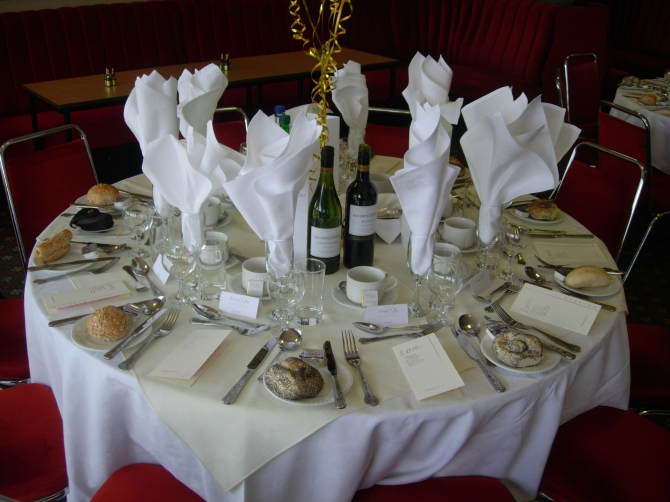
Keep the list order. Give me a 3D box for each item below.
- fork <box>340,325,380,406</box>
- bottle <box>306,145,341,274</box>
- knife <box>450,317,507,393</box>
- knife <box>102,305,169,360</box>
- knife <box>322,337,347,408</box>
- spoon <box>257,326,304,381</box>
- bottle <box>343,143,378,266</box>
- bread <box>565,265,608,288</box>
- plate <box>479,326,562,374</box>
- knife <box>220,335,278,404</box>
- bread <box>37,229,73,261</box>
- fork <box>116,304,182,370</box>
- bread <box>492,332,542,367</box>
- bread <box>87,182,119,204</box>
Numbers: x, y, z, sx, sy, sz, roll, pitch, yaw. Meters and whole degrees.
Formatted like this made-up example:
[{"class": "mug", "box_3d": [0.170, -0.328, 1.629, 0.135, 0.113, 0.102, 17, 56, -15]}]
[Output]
[{"class": "fork", "box_3d": [0.053, 0.283, 1.187, 0.036, 0.044, 0.294, -11, 36, -1]}, {"class": "bottle", "box_3d": [-0.029, -0.129, 1.433, 0.131, 0.407, 0.124, 0, 32, 0]}, {"class": "knife", "box_3d": [0.370, 0.269, 1.240, 0.038, 0.017, 0.294, -18, 34, -5]}, {"class": "knife", "box_3d": [-0.518, 0.204, 1.309, 0.035, 0.031, 0.331, 19, 29, 13]}, {"class": "knife", "box_3d": [-0.003, 0.303, 1.157, 0.020, 0.206, 0.009, -10, 24, 4]}, {"class": "spoon", "box_3d": [-0.138, 0.255, 1.207, 0.045, 0.033, 0.214, 19, 46, 12]}, {"class": "bottle", "box_3d": [0.077, -0.126, 1.452, 0.104, 0.412, 0.222, 3, 32, 4]}, {"class": "bread", "box_3d": [0.805, 0.068, 1.490, 0.098, 0.041, 0.073, -4, 15, -18]}, {"class": "plate", "box_3d": [0.476, 0.271, 1.202, 0.117, 0.022, 0.132, 12, 36, 6]}, {"class": "knife", "box_3d": [-0.207, 0.297, 1.199, 0.039, 0.013, 0.305, 26, 32, 8]}, {"class": "bread", "box_3d": [-0.920, -0.017, 1.556, 0.072, 0.043, 0.110, 10, 40, 28]}, {"class": "fork", "box_3d": [-0.476, 0.219, 1.253, 0.037, 0.037, 0.305, -10, 27, 19]}, {"class": "bread", "box_3d": [0.477, 0.256, 1.210, 0.124, 0.044, 0.097, 13, 37, 15]}, {"class": "bread", "box_3d": [-0.934, -0.262, 1.889, 0.080, 0.041, 0.104, -2, 29, -10]}]
